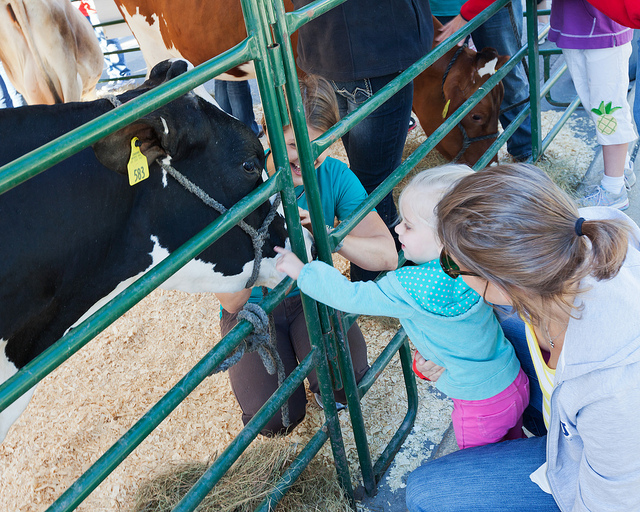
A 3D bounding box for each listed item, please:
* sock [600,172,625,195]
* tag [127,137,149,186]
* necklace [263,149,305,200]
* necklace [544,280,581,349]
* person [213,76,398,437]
[{"bbox_3d":[1.550,-0.388,2.949,0.096,0.112,0.092,-2,13,10],"label":"sock"},{"bbox_3d":[-0.467,-0.249,1.420,0.013,0.124,0.081,5,21,18],"label":"tag"},{"bbox_3d":[-0.123,-0.290,1.971,0.166,0.194,0.054,23,67,24],"label":"necklace"},{"bbox_3d":[0.577,0.162,1.327,0.070,0.229,0.100,5,33,26],"label":"necklace"},{"bbox_3d":[-0.105,-0.068,2.219,0.533,1.288,0.925,-1,31,-12],"label":"person"}]
